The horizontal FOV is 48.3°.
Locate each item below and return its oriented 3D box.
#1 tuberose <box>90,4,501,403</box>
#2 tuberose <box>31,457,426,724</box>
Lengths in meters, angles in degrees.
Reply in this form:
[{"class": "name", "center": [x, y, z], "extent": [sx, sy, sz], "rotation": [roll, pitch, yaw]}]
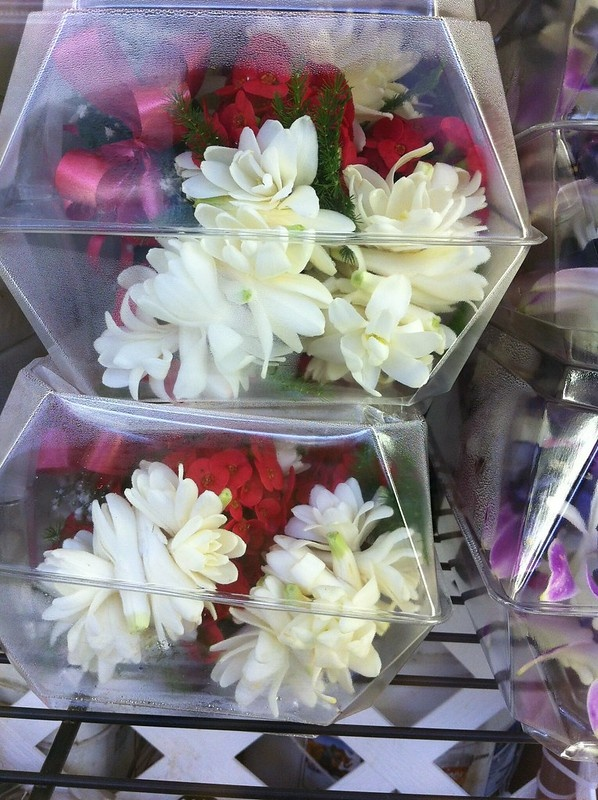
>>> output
[{"class": "tuberose", "center": [0.012, -0.101, 0.500], "extent": [0.301, 0.156, 0.226], "rotation": [-1, 88, -2]}, {"class": "tuberose", "center": [-0.052, 0.153, 0.601], "extent": [0.317, 0.124, 0.173], "rotation": [6, 89, -1]}]
